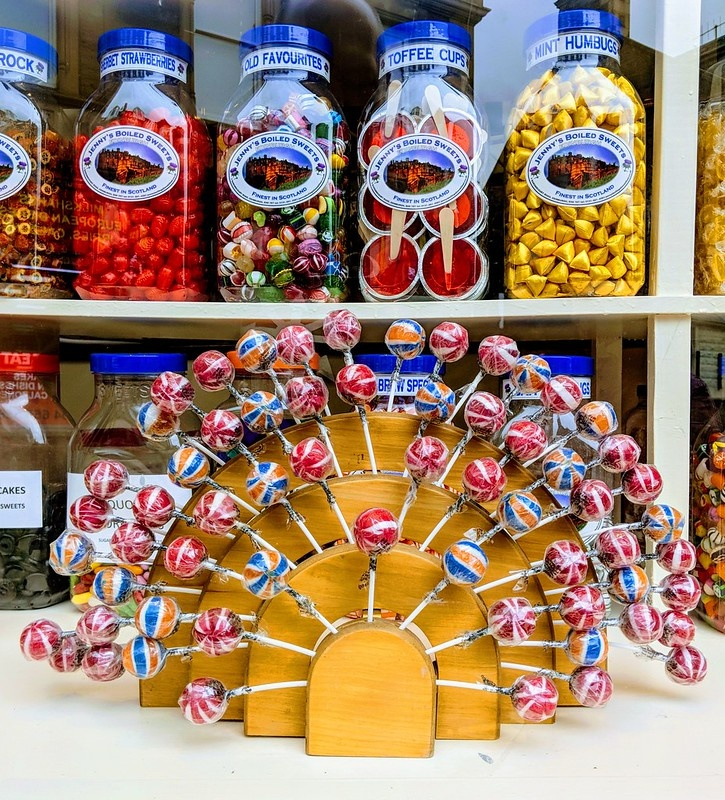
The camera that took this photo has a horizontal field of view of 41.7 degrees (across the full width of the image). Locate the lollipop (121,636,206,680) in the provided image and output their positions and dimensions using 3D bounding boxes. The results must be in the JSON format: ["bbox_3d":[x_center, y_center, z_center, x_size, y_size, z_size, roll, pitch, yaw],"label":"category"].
[{"bbox_3d":[-0.203,0.251,0.948,0.095,0.038,0.039,-1,3,-9],"label":"lollipop"}]

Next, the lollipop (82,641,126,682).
[{"bbox_3d":[-0.263,0.264,0.963,0.051,0.034,0.036,-10,-9,-6],"label":"lollipop"}]

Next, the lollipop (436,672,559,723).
[{"bbox_3d":[0.135,0.276,0.951,0.125,0.047,0.048,6,17,19],"label":"lollipop"}]

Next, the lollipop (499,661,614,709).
[{"bbox_3d":[0.189,0.272,0.966,0.120,0.042,0.045,10,3,13],"label":"lollipop"}]

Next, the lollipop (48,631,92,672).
[{"bbox_3d":[-0.303,0.260,0.978,0.045,0.022,0.033,-38,24,17],"label":"lollipop"}]

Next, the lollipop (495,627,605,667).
[{"bbox_3d":[0.190,0.251,0.968,0.118,0.032,0.033,-2,3,10],"label":"lollipop"}]
